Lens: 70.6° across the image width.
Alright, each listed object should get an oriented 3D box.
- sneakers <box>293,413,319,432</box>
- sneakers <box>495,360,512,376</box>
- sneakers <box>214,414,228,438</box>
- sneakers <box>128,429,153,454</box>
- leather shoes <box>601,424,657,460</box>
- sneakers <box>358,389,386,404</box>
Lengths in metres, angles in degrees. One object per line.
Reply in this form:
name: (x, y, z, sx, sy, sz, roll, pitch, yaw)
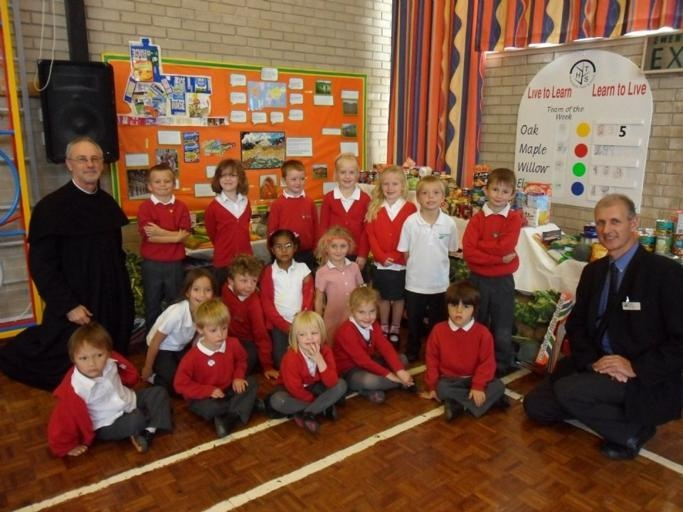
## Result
sneakers: (-0.232, 1.116, 3.226, 0.162, 0.080, 0.070, 22, 32, 29)
sneakers: (1.318, 0.912, 3.937, 0.119, 0.143, 0.120, 0, 2, 5)
sneakers: (-0.784, 1.113, 3.177, 0.067, 0.133, 0.088, -13, -15, -8)
sneakers: (-1.255, 1.170, 3.062, 0.085, 0.066, 0.188, 1, 14, -37)
leather shoes: (1.784, 1.134, 3.002, 0.304, 0.126, 0.169, -25, 24, -14)
sneakers: (0.228, 1.017, 3.540, 0.134, 0.082, 0.051, 14, 40, 16)
